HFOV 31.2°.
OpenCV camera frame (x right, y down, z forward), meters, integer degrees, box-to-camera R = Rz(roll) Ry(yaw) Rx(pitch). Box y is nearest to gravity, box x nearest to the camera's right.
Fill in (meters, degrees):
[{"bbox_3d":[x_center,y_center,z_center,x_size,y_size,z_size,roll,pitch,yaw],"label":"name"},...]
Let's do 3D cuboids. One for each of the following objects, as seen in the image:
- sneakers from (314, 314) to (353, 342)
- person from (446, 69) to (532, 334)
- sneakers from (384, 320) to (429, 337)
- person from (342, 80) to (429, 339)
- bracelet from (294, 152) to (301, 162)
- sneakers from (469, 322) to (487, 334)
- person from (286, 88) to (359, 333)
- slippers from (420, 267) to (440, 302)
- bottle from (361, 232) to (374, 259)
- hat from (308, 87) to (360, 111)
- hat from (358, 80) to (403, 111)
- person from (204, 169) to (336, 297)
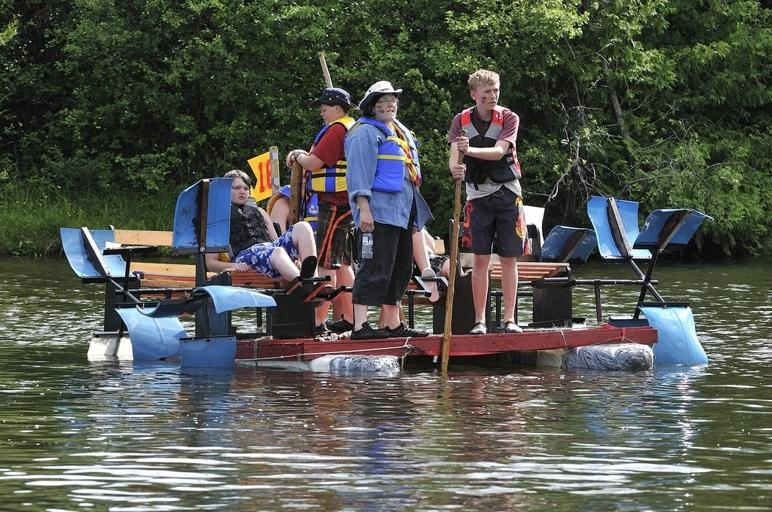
[{"bbox_3d":[-0.711,0.974,18.487,0.576,0.221,0.201,-10,8,-5],"label":"sneakers"},{"bbox_3d":[1.347,-0.697,17.863,0.908,3.385,0.548,-2,4,5],"label":"person"},{"bbox_3d":[0.244,0.933,17.904,0.666,0.233,0.211,0,-6,0],"label":"sneakers"},{"bbox_3d":[0.011,-0.589,17.665,0.996,3.264,0.462,-4,5,-20],"label":"person"},{"bbox_3d":[-1.179,-1.326,18.367,0.042,0.102,0.092,30,-3,-14],"label":"bracelet"},{"bbox_3d":[1.234,0.929,18.087,0.178,0.119,0.406,0,-3,5],"label":"sneakers"},{"bbox_3d":[-0.901,-0.581,18.531,1.140,3.253,1.239,2,2,24],"label":"person"},{"bbox_3d":[0.597,0.372,18.288,0.141,0.555,0.160,-8,-7,-3],"label":"slippers"},{"bbox_3d":[-0.230,-0.138,17.473,0.147,0.325,0.050,-2,4,8],"label":"bottle"},{"bbox_3d":[-0.686,-2.098,18.285,0.610,0.202,0.482,2,-2,9],"label":"hat"},{"bbox_3d":[-0.161,-2.046,17.728,0.416,0.166,0.489,-18,-7,-37],"label":"hat"},{"bbox_3d":[-1.427,-0.223,18.477,2.251,1.350,1.171,9,10,39],"label":"person"}]
